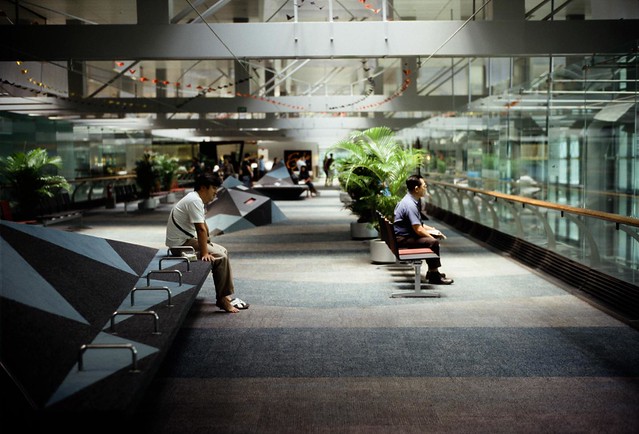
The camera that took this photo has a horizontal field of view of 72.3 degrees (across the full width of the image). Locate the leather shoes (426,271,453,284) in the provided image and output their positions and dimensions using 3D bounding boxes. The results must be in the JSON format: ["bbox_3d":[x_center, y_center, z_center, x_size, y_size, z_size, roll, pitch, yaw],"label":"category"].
[{"bbox_3d":[1.987,1.034,7.298,0.273,0.100,0.313,-1,1,-8],"label":"leather shoes"}]

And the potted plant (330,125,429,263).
[{"bbox_3d":[1.295,-0.938,10.573,2.635,2.532,2.394,-2,5,-8],"label":"potted plant"}]

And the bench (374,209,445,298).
[{"bbox_3d":[1.428,0.624,6.948,0.874,1.108,0.969,0,7,6],"label":"bench"}]

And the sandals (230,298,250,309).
[{"bbox_3d":[-1.122,1.205,6.085,0.208,0.071,0.132,6,2,11],"label":"sandals"}]
